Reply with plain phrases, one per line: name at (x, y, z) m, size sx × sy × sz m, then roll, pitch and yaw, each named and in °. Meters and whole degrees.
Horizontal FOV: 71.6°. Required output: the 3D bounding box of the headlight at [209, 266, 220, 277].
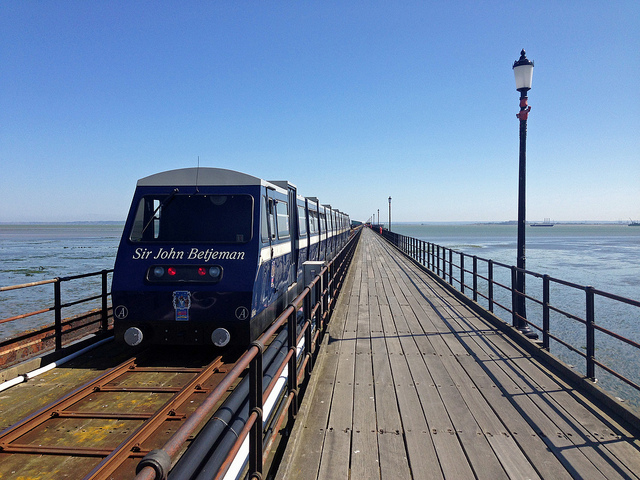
headlight at (-1.827, 0.540, 7.743) m, size 0.161 × 0.155 × 0.099 m, roll -2°, pitch 9°, yaw -15°

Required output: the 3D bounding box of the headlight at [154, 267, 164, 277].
headlight at (-2.783, 0.554, 7.710) m, size 0.162 × 0.148 × 0.091 m, roll -2°, pitch 9°, yaw -12°

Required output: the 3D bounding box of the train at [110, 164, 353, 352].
train at (-1.729, 0.141, 9.608) m, size 2.429 × 3.306 × 5.492 m, roll 3°, pitch 10°, yaw 16°
